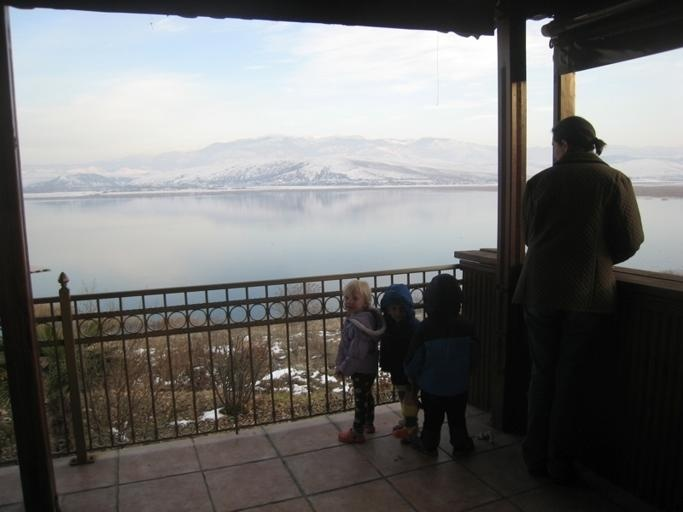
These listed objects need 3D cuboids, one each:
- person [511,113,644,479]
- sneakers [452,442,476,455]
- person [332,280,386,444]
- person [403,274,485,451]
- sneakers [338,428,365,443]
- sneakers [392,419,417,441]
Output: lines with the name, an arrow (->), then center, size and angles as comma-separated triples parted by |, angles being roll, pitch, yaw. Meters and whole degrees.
person -> 1.448, 0.267, 3.318 | 0.631, 2.218, 0.451 | -3, 9, -3
sneakers -> 0.820, 1.299, 3.583 | 0.151, 0.066, 0.069 | -10, 15, -33
person -> 0.134, 0.740, 3.807 | 0.347, 1.123, 0.279 | -3, 9, -5
person -> 0.667, 0.743, 3.572 | 0.434, 1.186, 0.218 | 0, 10, 14
sneakers -> 0.071, 1.265, 3.788 | 0.155, 0.069, 0.087 | 1, -2, 19
sneakers -> 0.445, 1.245, 3.777 | 0.171, 0.082, 0.097 | 2, 0, 0
